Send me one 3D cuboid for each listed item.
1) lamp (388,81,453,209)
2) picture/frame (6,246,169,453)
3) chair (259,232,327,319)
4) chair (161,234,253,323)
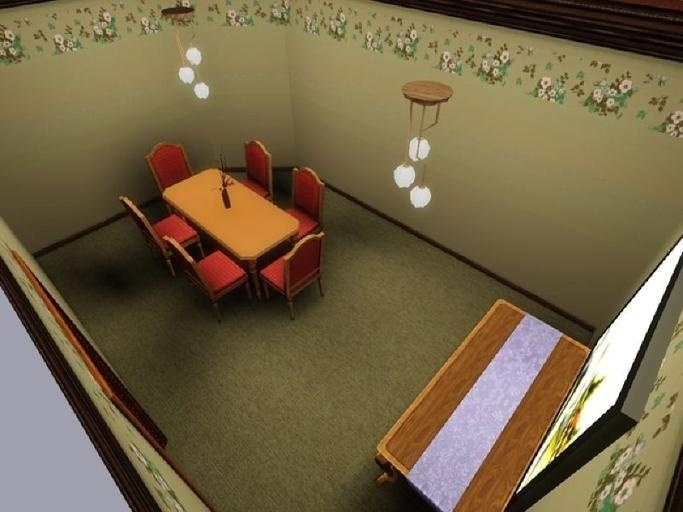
[{"bbox_3d":[0.799,-1.136,4.614,0.547,1.320,0.694,8,42,9],"label":"lamp"},{"bbox_3d":[-1.643,0.605,3.163,0.096,1.191,1.742,-23,70,-21],"label":"picture/frame"},{"bbox_3d":[-0.511,0.227,4.896,0.393,0.765,0.418,39,62,23],"label":"chair"},{"bbox_3d":[-1.417,0.272,4.968,0.421,0.810,0.387,-35,58,-26],"label":"chair"}]
